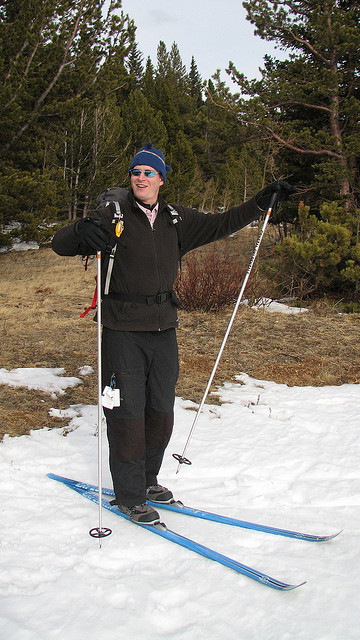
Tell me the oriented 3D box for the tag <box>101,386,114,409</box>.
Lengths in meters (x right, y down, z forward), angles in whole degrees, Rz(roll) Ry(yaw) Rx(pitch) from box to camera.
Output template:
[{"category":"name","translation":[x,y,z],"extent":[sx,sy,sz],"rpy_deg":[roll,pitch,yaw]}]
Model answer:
[{"category":"tag","translation":[-0.401,0.437,3.092],"extent":[0.080,0.106,0.037],"rpy_deg":[12,-3,33]}]

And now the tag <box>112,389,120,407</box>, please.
[{"category":"tag","translation":[-0.348,0.428,3.074],"extent":[0.075,0.071,0.017],"rpy_deg":[-2,-4,33]}]

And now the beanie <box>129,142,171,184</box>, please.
[{"category":"beanie","translation":[-0.154,-0.948,3.332],"extent":[0.197,0.218,0.249],"rpy_deg":[4,-12,16]}]

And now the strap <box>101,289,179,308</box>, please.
[{"category":"strap","translation":[-0.197,-0.135,3.177],"extent":[0.260,0.117,0.277],"rpy_deg":[-3,7,-34]}]

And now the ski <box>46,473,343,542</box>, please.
[{"category":"ski","translation":[0.068,1.178,3.472],"extent":[1.938,0.100,0.142],"rpy_deg":[7,-22,18]}]

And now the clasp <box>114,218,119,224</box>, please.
[{"category":"clasp","translation":[-0.355,-0.549,3.121],"extent":[0.019,0.017,0.018],"rpy_deg":[1,2,-11]}]

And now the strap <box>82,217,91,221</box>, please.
[{"category":"strap","translation":[-0.497,-0.539,2.987],"extent":[0.028,0.009,0.028],"rpy_deg":[-1,-2,42]}]

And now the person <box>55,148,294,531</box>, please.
[{"category":"person","translation":[-0.155,0.101,3.384],"extent":[0.460,2.220,1.105],"rpy_deg":[5,5,44]}]

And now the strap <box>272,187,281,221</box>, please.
[{"category":"strap","translation":[0.622,-0.753,3.658],"extent":[0.038,0.199,0.051],"rpy_deg":[14,20,8]}]

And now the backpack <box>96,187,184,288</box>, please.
[{"category":"backpack","translation":[-0.331,-0.437,3.315],"extent":[0.302,0.673,0.436],"rpy_deg":[9,16,37]}]

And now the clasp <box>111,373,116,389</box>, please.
[{"category":"clasp","translation":[-0.375,0.339,3.144],"extent":[0.007,0.076,0.037],"rpy_deg":[-2,5,-45]}]

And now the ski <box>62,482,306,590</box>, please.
[{"category":"ski","translation":[-0.055,1.193,3.116],"extent":[1.592,0.099,0.147],"rpy_deg":[5,5,43]}]

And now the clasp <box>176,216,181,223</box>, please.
[{"category":"clasp","translation":[-0.013,-0.606,3.381],"extent":[0.024,0.034,0.009],"rpy_deg":[-4,32,-4]}]
